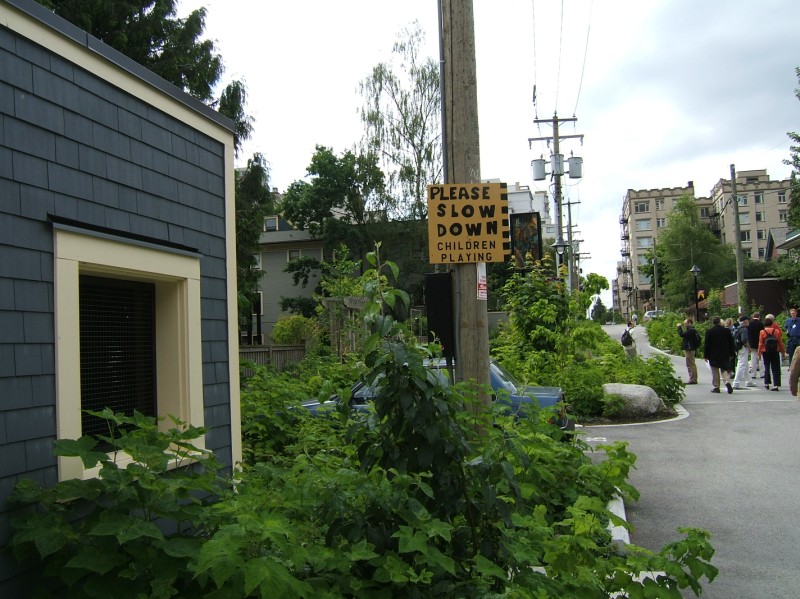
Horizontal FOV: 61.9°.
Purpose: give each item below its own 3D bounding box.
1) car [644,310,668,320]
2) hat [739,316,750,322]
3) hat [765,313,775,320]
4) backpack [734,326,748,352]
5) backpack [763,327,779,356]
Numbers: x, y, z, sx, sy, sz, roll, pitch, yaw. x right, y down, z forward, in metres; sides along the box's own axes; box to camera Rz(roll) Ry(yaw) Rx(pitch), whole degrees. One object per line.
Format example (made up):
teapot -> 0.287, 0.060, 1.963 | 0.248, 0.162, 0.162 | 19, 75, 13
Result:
car -> 26.484, 1.585, 68.887 | 1.116, 0.874, 1.595 | -1, -7, -29
hat -> 11.612, 0.661, 22.473 | 0.260, 0.159, 0.337 | -2, -4, -37
hat -> 13.171, 0.612, 23.739 | 0.370, 0.219, 0.561 | 2, 5, 32
backpack -> 10.051, 1.171, 19.610 | 0.302, 0.669, 0.779 | -2, -1, 23
backpack -> 10.225, 1.128, 18.391 | 0.454, 0.704, 0.666 | 0, -6, 19
